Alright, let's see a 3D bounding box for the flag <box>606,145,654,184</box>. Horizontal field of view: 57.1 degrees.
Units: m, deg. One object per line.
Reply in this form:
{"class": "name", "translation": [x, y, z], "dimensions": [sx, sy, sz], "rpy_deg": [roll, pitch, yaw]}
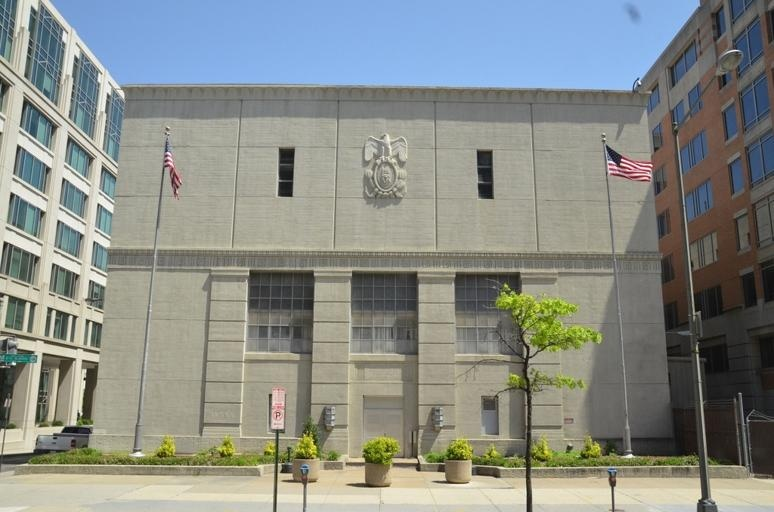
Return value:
{"class": "flag", "translation": [16.668, -6.272, 48.894], "dimensions": [2.922, 2.620, 0.413], "rpy_deg": [8, -35, -1]}

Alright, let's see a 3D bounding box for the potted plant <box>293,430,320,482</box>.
{"class": "potted plant", "translation": [-4.720, 11.632, 41.315], "dimensions": [1.454, 2.729, 2.293], "rpy_deg": [1, -20, -3]}

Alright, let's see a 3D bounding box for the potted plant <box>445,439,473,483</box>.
{"class": "potted plant", "translation": [4.212, 11.945, 41.673], "dimensions": [1.279, 2.524, 1.008], "rpy_deg": [-13, -24, 32]}

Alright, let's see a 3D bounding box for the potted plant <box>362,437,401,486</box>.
{"class": "potted plant", "translation": [-0.439, 11.627, 40.528], "dimensions": [1.777, 2.736, 1.248], "rpy_deg": [0, -20, -2]}
